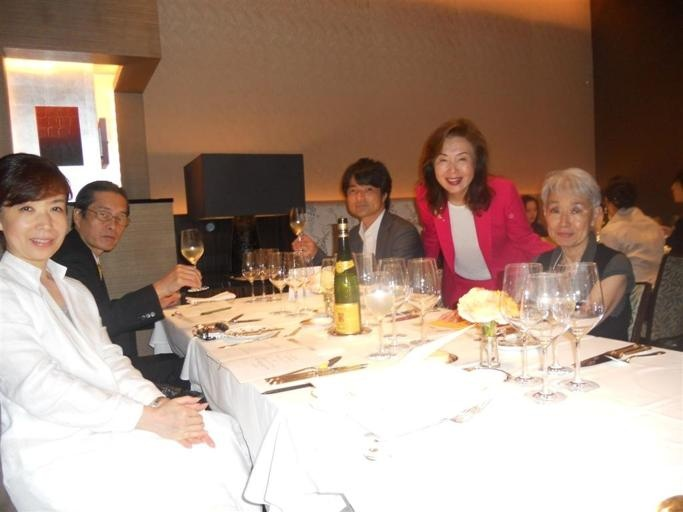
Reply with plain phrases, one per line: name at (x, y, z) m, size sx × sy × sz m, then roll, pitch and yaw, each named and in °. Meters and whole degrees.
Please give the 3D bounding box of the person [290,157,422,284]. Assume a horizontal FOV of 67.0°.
person at (0.032, -0.251, 3.473) m, size 0.737 × 1.181 × 0.703 m, roll 0°, pitch -2°, yaw -30°

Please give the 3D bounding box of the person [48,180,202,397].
person at (-1.069, 0.284, 2.583) m, size 0.723 × 1.186 × 0.493 m, roll 1°, pitch 14°, yaw -8°

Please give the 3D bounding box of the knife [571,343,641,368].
knife at (0.777, 0.292, 1.504) m, size 0.303 × 0.028 × 0.051 m, roll -7°, pitch 16°, yaw -30°
